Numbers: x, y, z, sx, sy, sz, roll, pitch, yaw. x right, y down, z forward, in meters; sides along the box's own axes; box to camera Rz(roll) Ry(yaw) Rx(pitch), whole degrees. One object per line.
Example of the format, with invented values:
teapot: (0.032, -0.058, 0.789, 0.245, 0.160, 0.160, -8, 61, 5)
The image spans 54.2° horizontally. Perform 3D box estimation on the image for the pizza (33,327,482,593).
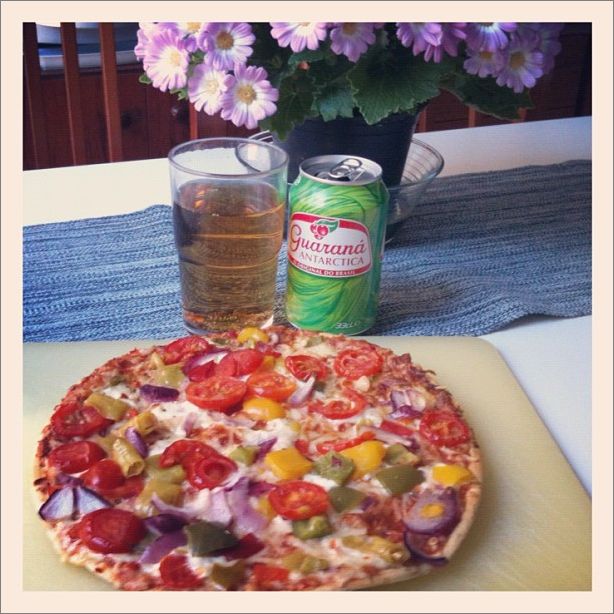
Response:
pizza: (-0.049, 0.162, 0.748, 0.538, 0.109, 0.460, -5, 21, -23)

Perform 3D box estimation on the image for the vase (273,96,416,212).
vase: (0.084, -0.319, 1.203, 0.222, 0.133, 0.190, 16, 36, 25)

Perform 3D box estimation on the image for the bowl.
bowl: (0.051, -0.212, 1.049, 0.303, 0.099, 0.261, -16, 39, -22)
